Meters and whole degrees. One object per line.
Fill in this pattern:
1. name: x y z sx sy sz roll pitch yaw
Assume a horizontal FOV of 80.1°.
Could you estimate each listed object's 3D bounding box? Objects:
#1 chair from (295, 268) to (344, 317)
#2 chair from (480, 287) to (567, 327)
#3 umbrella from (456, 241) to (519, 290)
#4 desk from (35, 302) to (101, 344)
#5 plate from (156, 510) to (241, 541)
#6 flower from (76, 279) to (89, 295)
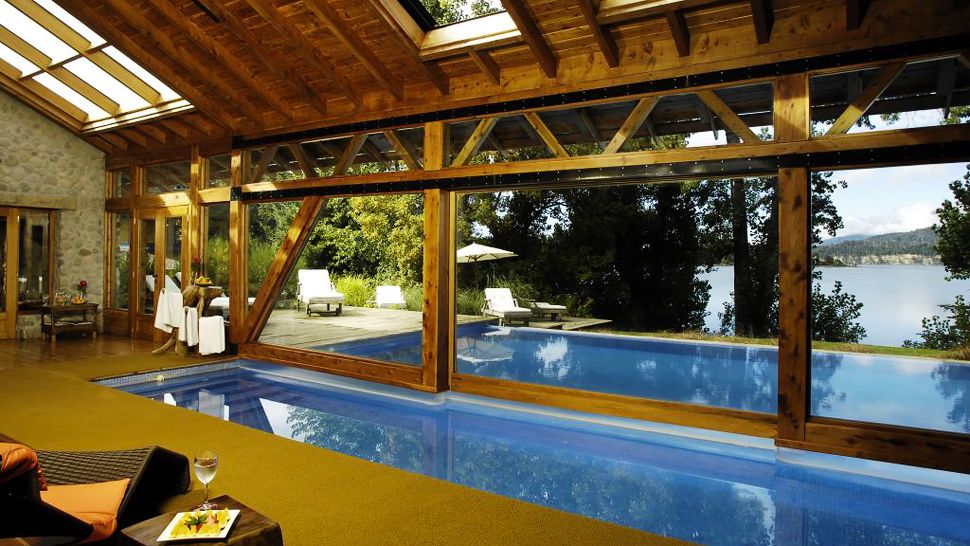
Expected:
1. chair: -3.024 0.314 10.705 0.790 0.702 0.912 0 -1 -23
2. chair: 0.581 0.499 8.964 0.993 0.460 0.613 0 0 45
3. umbrella: 0.005 -0.138 9.142 0.803 0.488 0.732 -2 4 -25
4. desk: -9.077 1.033 12.620 0.556 0.597 0.909 -2 1 31
5. plate: -2.526 2.230 5.122 0.337 0.037 0.363 0 3 7
6. flower: -9.059 0.312 12.996 0.320 0.298 0.312 1 0 34
